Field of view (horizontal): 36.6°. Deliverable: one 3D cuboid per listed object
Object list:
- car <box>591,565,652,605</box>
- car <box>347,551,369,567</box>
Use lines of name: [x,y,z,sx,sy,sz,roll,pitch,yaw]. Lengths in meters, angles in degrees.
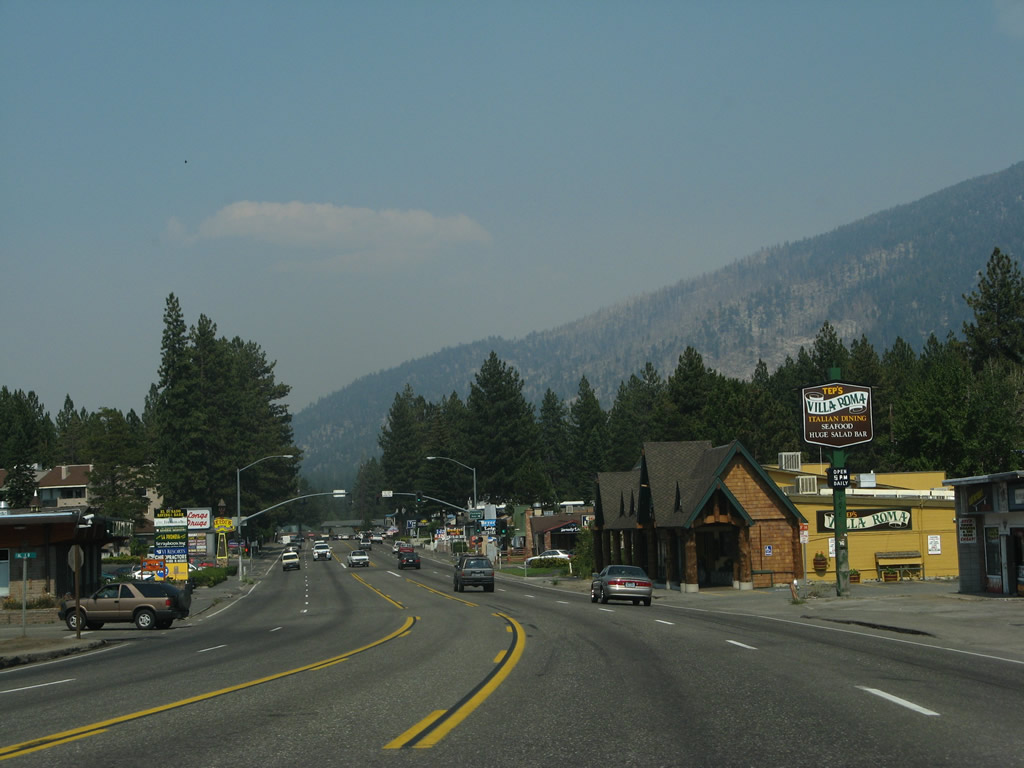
car: [5.473,9.875,75.885,2.101,2.273,4.164,1,-12,-24]
car: [-13.276,15.137,133.843,1.620,1.694,4.495,-2,-11,-4]
